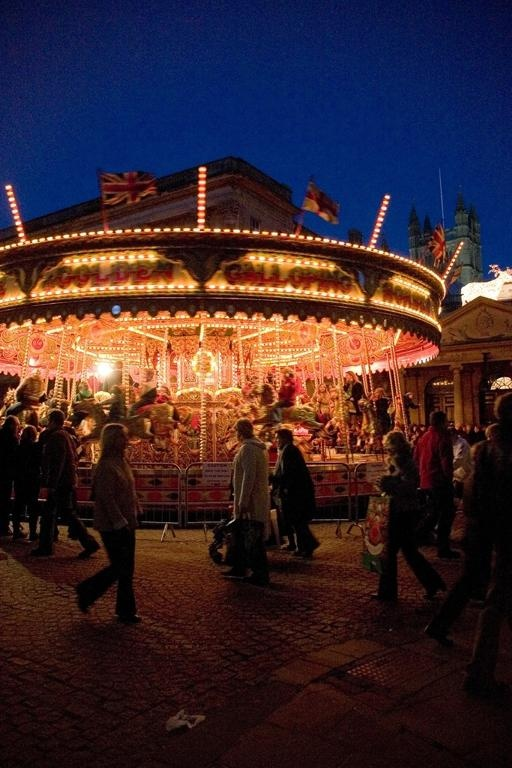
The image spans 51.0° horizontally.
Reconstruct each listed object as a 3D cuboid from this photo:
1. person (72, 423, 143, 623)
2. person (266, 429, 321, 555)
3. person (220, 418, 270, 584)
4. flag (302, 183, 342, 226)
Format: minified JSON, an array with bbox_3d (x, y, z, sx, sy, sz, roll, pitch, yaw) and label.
[{"bbox_3d":[-1.181,1.142,4.387,0.524,1.605,0.457,-1,0,-30],"label":"person"},{"bbox_3d":[0.489,1.478,7.207,0.591,1.686,0.907,-1,0,2],"label":"person"},{"bbox_3d":[-0.111,1.289,5.784,0.478,1.786,0.792,-1,0,-1],"label":"person"},{"bbox_3d":[1.209,-3.424,10.239,0.244,0.774,0.919,-1,0,39],"label":"flag"}]
